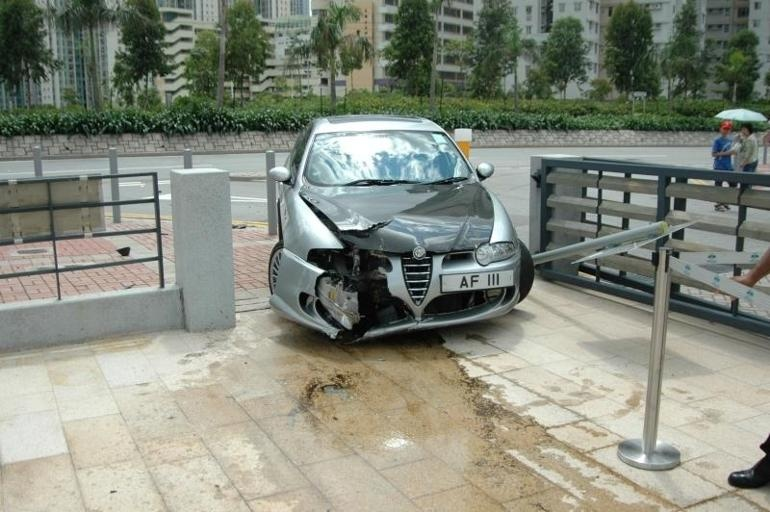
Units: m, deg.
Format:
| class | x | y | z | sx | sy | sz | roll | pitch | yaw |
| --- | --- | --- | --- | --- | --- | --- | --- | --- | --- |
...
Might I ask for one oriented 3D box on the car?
| class | x | y | z | sx | sy | sz | roll | pitch | yaw |
| --- | --- | --- | --- | --- | --- | --- | --- | --- | --- |
| car | 0.043 | -0.240 | 6.904 | 2.576 | 1.998 | 2.281 | -2 | 15 | -6 |
